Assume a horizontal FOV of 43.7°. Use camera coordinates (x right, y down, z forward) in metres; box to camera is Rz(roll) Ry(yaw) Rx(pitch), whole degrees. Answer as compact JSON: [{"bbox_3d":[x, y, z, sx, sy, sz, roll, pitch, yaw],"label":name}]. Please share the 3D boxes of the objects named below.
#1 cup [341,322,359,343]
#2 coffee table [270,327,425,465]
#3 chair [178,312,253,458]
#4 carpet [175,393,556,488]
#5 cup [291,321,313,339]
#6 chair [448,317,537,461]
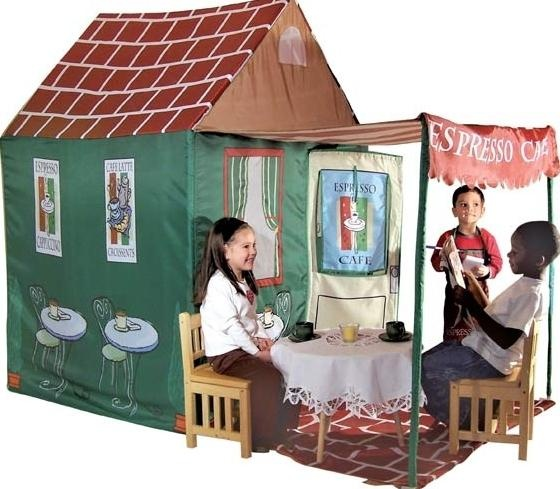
[{"bbox_3d":[0.453,0.584,4.604,0.104,0.098,0.117,0,-3,7],"label":"cup"},{"bbox_3d":[0.426,0.854,4.512,0.782,0.594,0.809,3,6,31],"label":"coffee table"},{"bbox_3d":[-0.337,0.940,4.870,0.714,0.939,0.721,-2,6,-15],"label":"chair"},{"bbox_3d":[0.537,1.208,4.505,1.175,0.049,1.303,4,5,29],"label":"carpet"},{"bbox_3d":[0.151,0.578,4.661,0.124,0.090,0.098,-1,6,5],"label":"cup"},{"bbox_3d":[1.453,1.009,4.799,0.553,0.869,0.586,-1,-10,31],"label":"chair"}]
